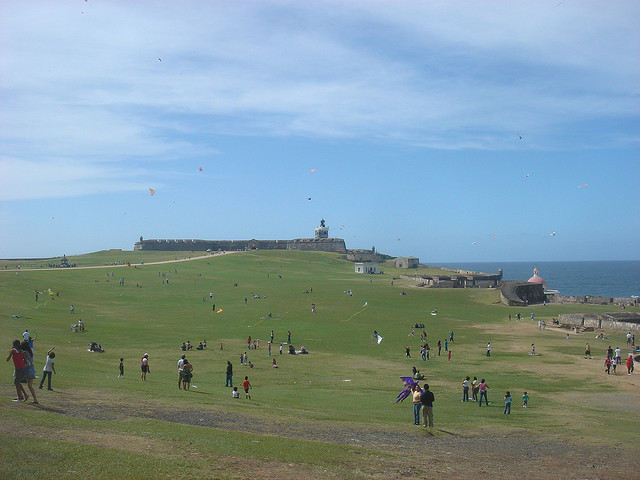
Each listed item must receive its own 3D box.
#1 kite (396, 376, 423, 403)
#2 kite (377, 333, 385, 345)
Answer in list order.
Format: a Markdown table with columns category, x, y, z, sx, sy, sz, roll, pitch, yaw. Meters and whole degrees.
| category | x | y | z | sx | sy | sz | roll | pitch | yaw |
| --- | --- | --- | --- | --- | --- | --- | --- | --- | --- |
| kite | 7.194 | 11.922 | 82.803 | 1.135 | 1.925 | 2.328 | 37 | -11 | 27 |
| kite | 6.617 | 10.672 | 112.519 | 0.531 | 0.703 | 0.742 | 28 | -10 | 3 |
